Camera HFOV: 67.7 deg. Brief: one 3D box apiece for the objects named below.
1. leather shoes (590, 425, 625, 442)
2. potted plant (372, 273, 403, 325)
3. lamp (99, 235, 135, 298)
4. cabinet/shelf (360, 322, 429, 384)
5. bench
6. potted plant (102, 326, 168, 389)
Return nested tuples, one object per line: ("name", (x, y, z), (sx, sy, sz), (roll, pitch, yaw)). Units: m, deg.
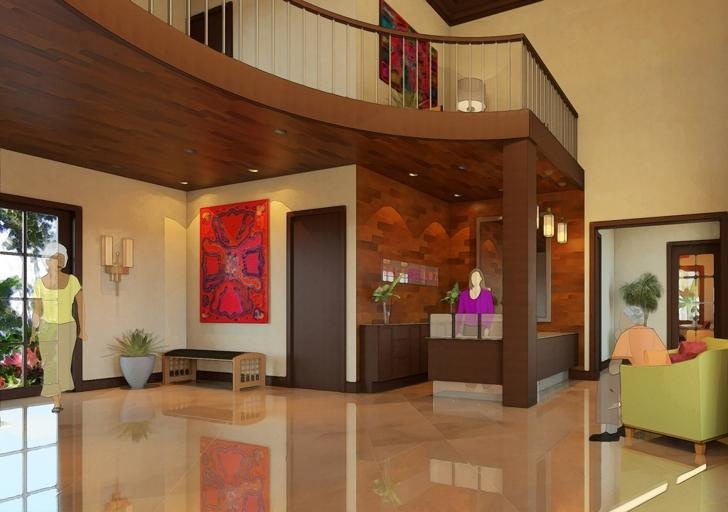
("leather shoes", (3.028, 2.219, 6.790), (0.402, 0.267, 0.124), (-1, -4, 33))
("potted plant", (0.488, 0.790, 10.067), (0.367, 0.884, 0.814), (0, 0, 29))
("lamp", (-4.627, 0.168, 10.177), (0.465, 0.963, 0.232), (4, -15, -21))
("cabinet/shelf", (0.670, 1.837, 10.173), (0.374, 1.221, 2.107), (-2, -6, 35))
("bench", (-2.883, 2.127, 10.354), (2.050, 0.523, 0.804), (0, 0, 29))
("potted plant", (-4.279, 1.932, 10.320), (0.939, 1.019, 0.959), (-8, -9, 38))
